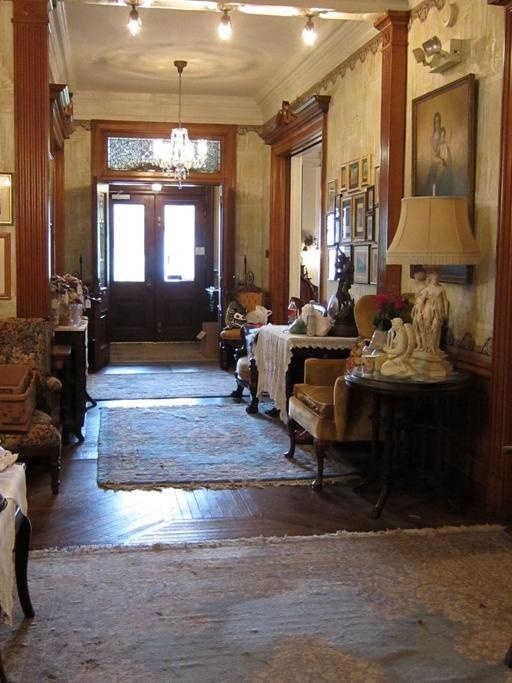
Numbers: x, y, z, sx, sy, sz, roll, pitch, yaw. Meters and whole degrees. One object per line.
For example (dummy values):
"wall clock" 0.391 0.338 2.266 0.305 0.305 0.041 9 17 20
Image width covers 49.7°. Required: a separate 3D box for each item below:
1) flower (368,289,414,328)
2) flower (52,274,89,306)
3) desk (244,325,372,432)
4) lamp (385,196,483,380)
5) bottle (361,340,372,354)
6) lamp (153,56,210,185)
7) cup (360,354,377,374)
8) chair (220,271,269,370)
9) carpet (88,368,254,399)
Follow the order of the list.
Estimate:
"flower" 0.799 -0.196 3.379 0.272 0.272 0.204 0 20 -4
"flower" -1.589 -0.431 4.678 0.280 0.252 0.384 0 1 -21
"desk" 0.349 0.266 5.099 0.545 0.671 1.335 -1 2 -10
"lamp" 0.957 -0.298 3.038 0.476 0.996 0.319 1 1 21
"bottle" 0.692 0.035 3.426 0.063 0.103 0.103 1 8 0
"lamp" -0.945 -3.036 7.413 0.736 1.302 0.745 16 47 15
"cup" 0.627 0.130 3.107 0.093 0.104 0.094 0 1 0
"chair" -0.142 -0.282 8.298 0.728 1.299 0.751 13 19 21
"carpet" -1.220 0.524 7.193 1.849 0.230 2.112 0 1 -13
